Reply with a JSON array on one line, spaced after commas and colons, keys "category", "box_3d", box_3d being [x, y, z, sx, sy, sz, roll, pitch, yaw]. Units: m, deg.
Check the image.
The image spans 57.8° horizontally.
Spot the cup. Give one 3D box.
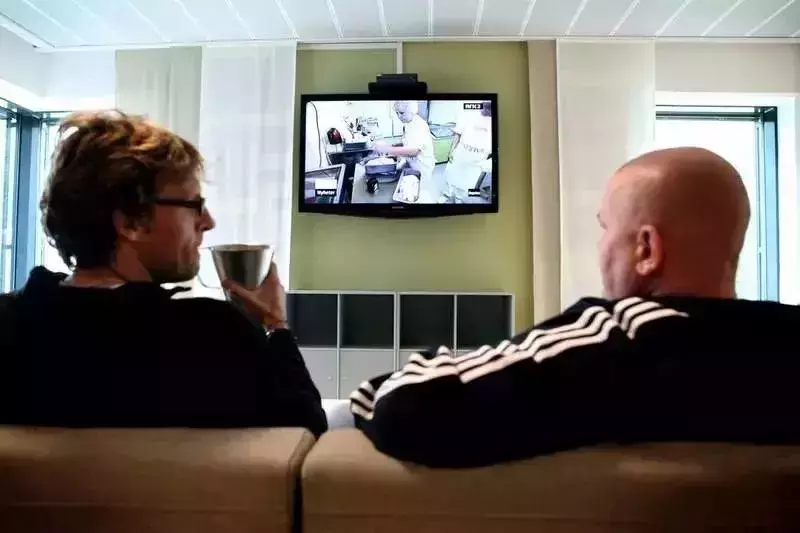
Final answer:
[{"category": "cup", "box_3d": [-0.577, 0.018, 2.655, 0.264, 0.170, 0.218, -3, -2, 2]}]

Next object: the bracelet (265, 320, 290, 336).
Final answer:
[{"category": "bracelet", "box_3d": [-0.436, 0.218, 2.589, 0.063, 0.043, 0.056, -1, -3, 17]}]

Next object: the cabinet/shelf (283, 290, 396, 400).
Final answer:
[{"category": "cabinet/shelf", "box_3d": [-0.321, 0.437, 4.174, 0.869, 0.732, 0.319, 0, -5, -5]}]
